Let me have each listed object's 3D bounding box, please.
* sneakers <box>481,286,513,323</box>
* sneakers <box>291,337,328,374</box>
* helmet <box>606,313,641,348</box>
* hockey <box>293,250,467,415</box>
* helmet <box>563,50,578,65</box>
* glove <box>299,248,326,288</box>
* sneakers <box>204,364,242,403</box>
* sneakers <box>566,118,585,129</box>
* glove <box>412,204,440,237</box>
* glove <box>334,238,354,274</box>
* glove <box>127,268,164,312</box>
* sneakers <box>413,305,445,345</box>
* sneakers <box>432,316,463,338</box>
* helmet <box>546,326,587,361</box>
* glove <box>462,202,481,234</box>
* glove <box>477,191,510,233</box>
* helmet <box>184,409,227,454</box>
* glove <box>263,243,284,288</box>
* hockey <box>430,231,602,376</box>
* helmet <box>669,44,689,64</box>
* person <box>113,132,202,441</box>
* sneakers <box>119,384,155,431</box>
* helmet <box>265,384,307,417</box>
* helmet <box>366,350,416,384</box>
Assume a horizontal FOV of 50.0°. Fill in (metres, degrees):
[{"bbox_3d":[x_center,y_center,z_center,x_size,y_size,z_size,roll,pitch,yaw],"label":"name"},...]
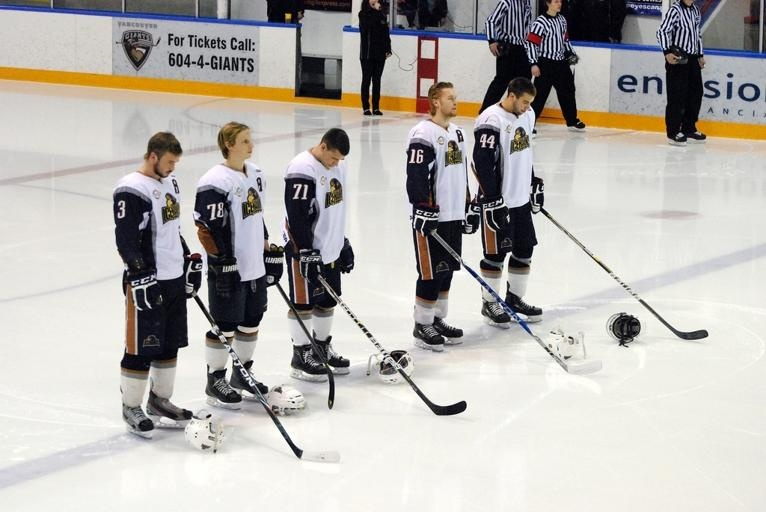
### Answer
[{"bbox_3d":[0.845,0.394,6.274,0.110,0.229,0.328,-3,15,-24],"label":"sneakers"},{"bbox_3d":[-0.497,0.684,5.464,0.278,0.198,0.100,13,21,30],"label":"sneakers"},{"bbox_3d":[1.733,0.501,5.997,0.275,0.118,0.262,3,3,40],"label":"helmet"},{"bbox_3d":[-0.031,0.563,5.676,0.225,1.177,0.128,-45,-1,44],"label":"hockey"},{"bbox_3d":[2.971,-3.116,12.926,0.229,0.089,0.175,13,0,0],"label":"helmet"},{"bbox_3d":[-0.458,0.076,5.347,0.179,0.267,0.121,-7,16,-24],"label":"glove"},{"bbox_3d":[-1.015,0.814,5.136,0.282,0.210,0.096,11,12,28],"label":"sneakers"},{"bbox_3d":[3.131,-2.149,13.383,0.148,0.132,0.292,-6,9,-23],"label":"sneakers"},{"bbox_3d":[0.293,-0.248,5.669,0.192,0.201,0.156,1,16,-10],"label":"glove"},{"bbox_3d":[-0.262,0.013,5.635,0.082,0.203,0.157,4,1,-1],"label":"glove"},{"bbox_3d":[-1.374,0.179,4.681,0.217,0.228,0.163,-4,24,-14],"label":"glove"},{"bbox_3d":[0.318,0.525,5.897,0.091,0.283,0.285,-1,11,-27],"label":"sneakers"},{"bbox_3d":[0.464,0.527,6.046,0.279,0.124,0.097,14,21,28],"label":"sneakers"},{"bbox_3d":[1.256,0.602,5.662,0.178,0.165,0.252,-5,19,-21],"label":"helmet"},{"bbox_3d":[0.663,-0.279,6.135,0.083,0.225,0.156,7,2,31],"label":"glove"},{"bbox_3d":[0.808,-0.306,5.978,0.170,0.241,0.100,-7,8,19],"label":"glove"},{"bbox_3d":[-1.029,1.007,4.672,0.228,0.191,0.171,15,-6,-14],"label":"helmet"},{"bbox_3d":[-0.723,0.056,5.283,0.164,0.231,0.086,5,0,-35],"label":"glove"},{"bbox_3d":[0.984,0.390,6.206,0.260,0.148,1.273,-4,42,-47],"label":"hockey"},{"bbox_3d":[4.253,-2.843,11.788,0.257,0.230,0.197,31,-4,-17],"label":"helmet"},{"bbox_3d":[-1.300,0.156,4.757,0.551,1.694,0.424,-10,17,-33],"label":"person"},{"bbox_3d":[-1.451,0.938,4.783,0.236,0.170,0.076,1,-3,39],"label":"sneakers"},{"bbox_3d":[-0.602,0.864,5.030,0.210,0.158,0.156,7,9,35],"label":"helmet"},{"bbox_3d":[0.074,0.704,5.427,0.251,0.157,0.190,6,20,-23],"label":"helmet"}]
